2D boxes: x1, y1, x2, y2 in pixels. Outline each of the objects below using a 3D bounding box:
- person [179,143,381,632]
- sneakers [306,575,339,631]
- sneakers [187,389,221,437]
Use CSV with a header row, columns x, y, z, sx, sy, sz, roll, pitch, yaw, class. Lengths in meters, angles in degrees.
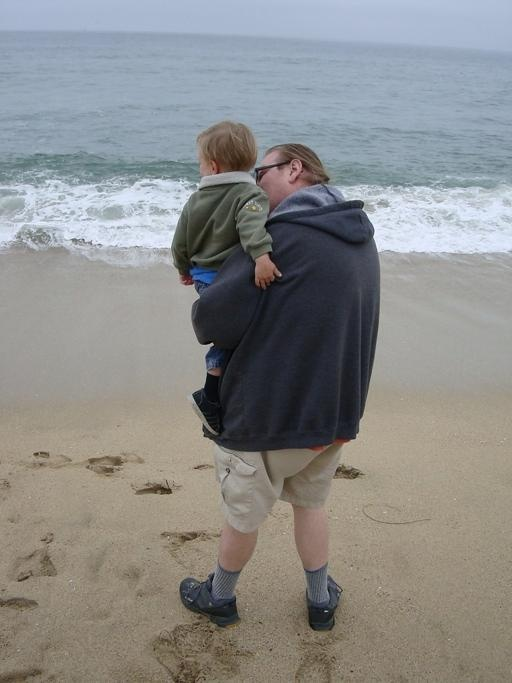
x,y,z,sx,sy,sz,roll,pitch,yaw,class
0.116,0.254,2.409,0.575,1.774,0.661,20,30,34,person
0.269,1.057,2.647,0.086,0.091,0.227,-4,16,9,sneakers
-0.174,0.250,2.377,0.090,0.181,0.077,-26,-1,24,sneakers
